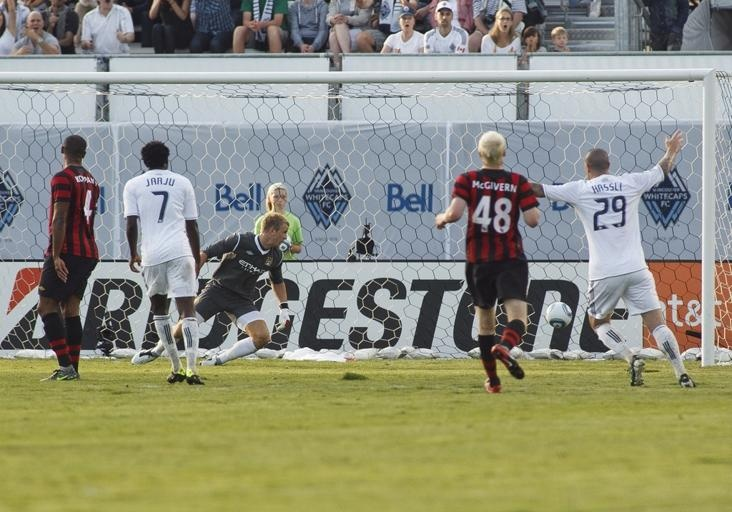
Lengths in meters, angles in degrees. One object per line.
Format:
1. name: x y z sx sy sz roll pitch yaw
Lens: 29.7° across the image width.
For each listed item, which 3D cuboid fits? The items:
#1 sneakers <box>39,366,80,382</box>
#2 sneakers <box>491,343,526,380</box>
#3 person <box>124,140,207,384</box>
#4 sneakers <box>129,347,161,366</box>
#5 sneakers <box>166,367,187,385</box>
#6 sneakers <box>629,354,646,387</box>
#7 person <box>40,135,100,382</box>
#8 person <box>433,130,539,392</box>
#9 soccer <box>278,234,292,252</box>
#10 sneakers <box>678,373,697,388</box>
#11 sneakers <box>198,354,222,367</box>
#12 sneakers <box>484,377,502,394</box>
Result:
1. sneakers: -3.081 1.171 13.828 0.386 0.174 0.140 1 -1 -7
2. sneakers: 1.292 0.956 12.644 0.272 0.318 0.236 0 0 1
3. person: -1.962 0.064 13.336 0.727 1.805 0.384 0 0 -7
4. sneakers: -2.297 1.056 14.442 0.401 0.144 0.176 -7 10 6
5. sneakers: -1.806 1.142 13.343 0.256 0.090 0.135 -2 -19 16
6. sneakers: 2.655 1.136 13.378 0.118 0.367 0.185 -6 20 -18
7. person: -2.969 0.020 13.730 0.574 1.972 0.385 0 0 -14
8. person: 1.174 0.056 12.789 0.832 2.421 0.514 0 0 6
9. soccer: -0.882 -0.136 15.095 0.118 0.165 0.153 6 25 24
10. sneakers: 3.075 1.197 13.186 0.100 0.164 0.070 -42 -25 6
11. sneakers: -1.669 1.095 14.666 0.134 0.163 0.370 3 -2 -42
12. sneakers: 1.188 1.210 12.973 0.156 0.165 0.098 -1 -2 31
